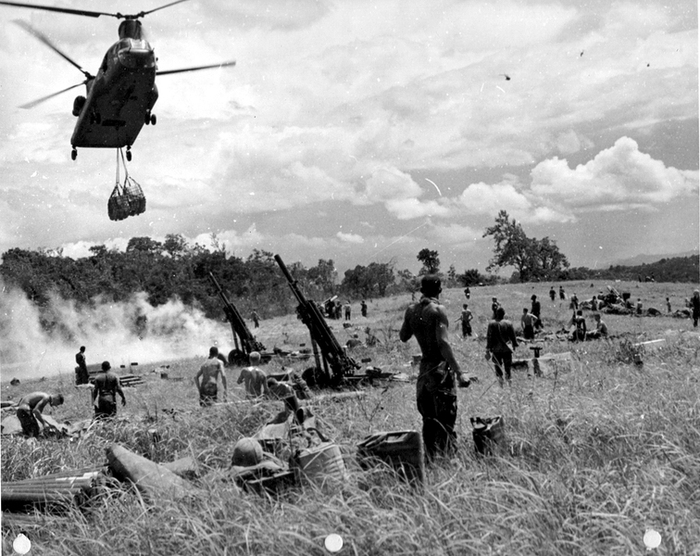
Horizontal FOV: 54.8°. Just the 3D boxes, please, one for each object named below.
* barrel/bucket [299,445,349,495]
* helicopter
[{"bbox_3d":[-0.318,2.333,8.219,0.462,0.493,0.497,-17,-14,-4],"label":"barrel/bucket"},{"bbox_3d":[-4.940,-4.119,14.184,3.882,1.910,5.294,0,-20,-25],"label":"helicopter"}]
